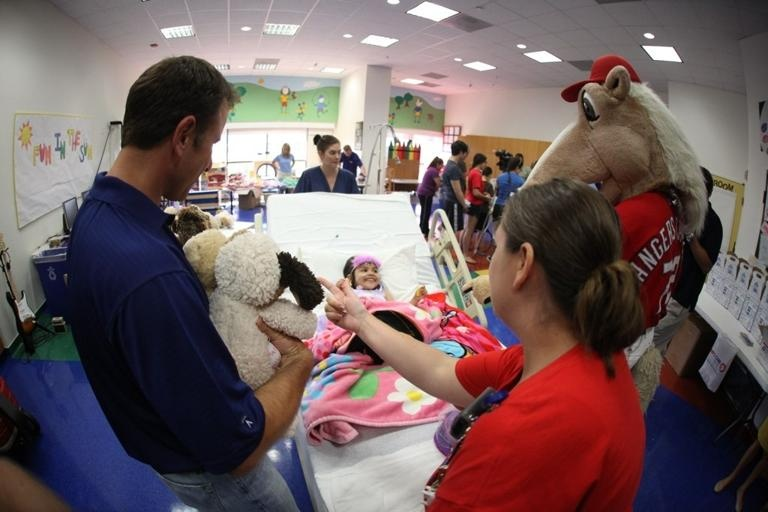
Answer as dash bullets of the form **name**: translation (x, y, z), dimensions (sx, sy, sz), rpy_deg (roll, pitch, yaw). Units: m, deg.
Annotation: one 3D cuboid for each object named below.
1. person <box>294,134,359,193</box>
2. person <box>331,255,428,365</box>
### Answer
- **person**: translation (-0.593, -0.960, 5.027), dimensions (0.737, 0.742, 0.371), rpy_deg (-5, 19, -24)
- **person**: translation (-0.033, 0.348, 3.632), dimensions (0.782, 0.440, 1.060), rpy_deg (9, 19, -33)
